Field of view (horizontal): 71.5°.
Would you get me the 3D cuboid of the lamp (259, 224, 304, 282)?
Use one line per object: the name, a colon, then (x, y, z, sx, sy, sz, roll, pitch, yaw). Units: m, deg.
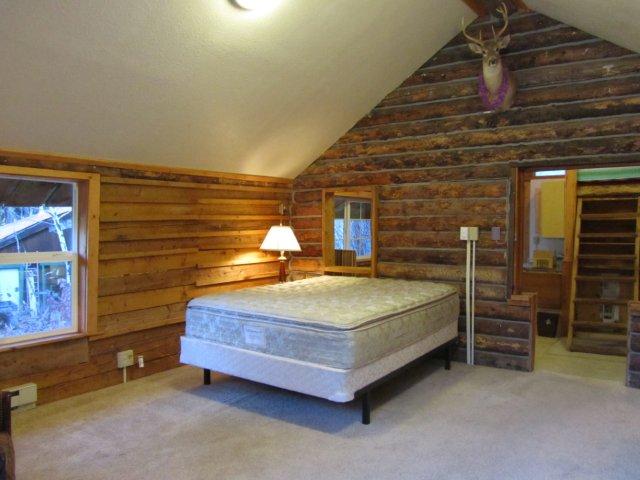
lamp: (-0.567, 0.228, 6.516, 0.587, 0.882, 1.046, 0, 6, -4)

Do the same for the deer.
deer: (1.929, -2.107, 5.077, 0.614, 1.158, 1.150, 2, 7, 17)

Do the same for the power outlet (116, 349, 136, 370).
power outlet: (-2.111, 1.285, 4.846, 0.057, 0.163, 0.204, -5, -13, 43)

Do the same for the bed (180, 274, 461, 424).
bed: (0.090, 1.056, 4.932, 1.960, 0.991, 2.234, 5, 7, 37)
